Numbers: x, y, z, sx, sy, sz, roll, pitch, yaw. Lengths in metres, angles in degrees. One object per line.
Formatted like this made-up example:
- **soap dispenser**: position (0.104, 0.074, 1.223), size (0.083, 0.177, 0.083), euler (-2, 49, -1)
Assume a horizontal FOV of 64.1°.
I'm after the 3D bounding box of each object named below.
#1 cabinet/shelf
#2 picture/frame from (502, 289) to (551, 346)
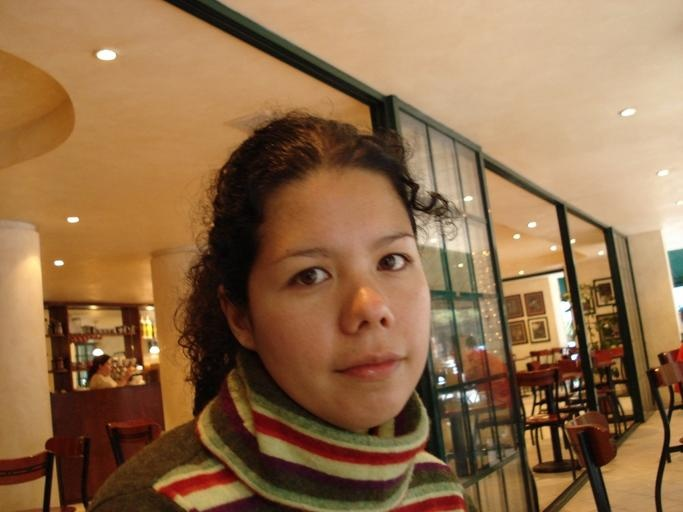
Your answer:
- **cabinet/shelf**: position (-4.139, 1.448, 8.878), size (0.440, 1.282, 1.484), euler (-11, -11, 31)
- **picture/frame**: position (4.309, 1.423, 12.574), size (0.912, 1.202, 0.151), euler (-14, -14, 32)
